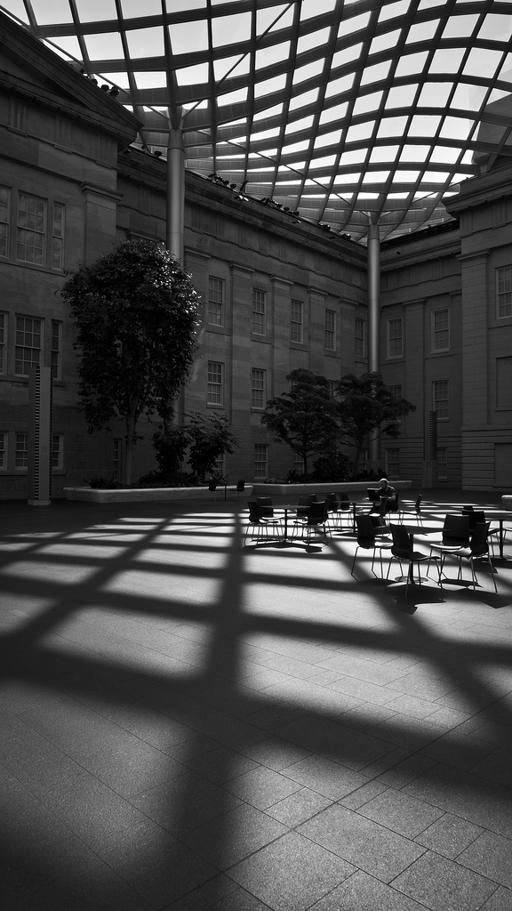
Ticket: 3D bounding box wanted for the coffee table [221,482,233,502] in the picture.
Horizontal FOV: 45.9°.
[{"bbox_3d":[-1.186,1.544,24.967,0.449,1.101,0.514,3,-13,-21],"label":"coffee table"}]
